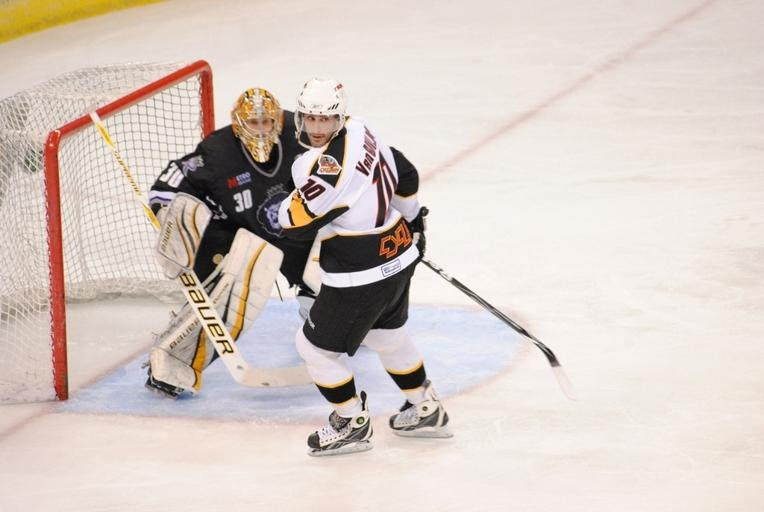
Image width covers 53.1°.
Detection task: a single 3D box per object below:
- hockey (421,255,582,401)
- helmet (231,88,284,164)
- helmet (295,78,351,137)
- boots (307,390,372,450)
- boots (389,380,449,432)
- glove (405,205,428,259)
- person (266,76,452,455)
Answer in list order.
[{"bbox_3d":[0.677,0.429,4.293,1.066,0.119,0.123,40,86,22],"label":"hockey"},{"bbox_3d":[-0.654,-0.731,4.037,0.273,0.307,0.333,-8,29,-15],"label":"helmet"},{"bbox_3d":[-0.251,-0.679,3.437,0.231,0.250,0.257,5,31,8],"label":"helmet"},{"bbox_3d":[-0.184,0.844,3.740,0.418,0.263,0.142,-1,0,-7],"label":"boots"},{"bbox_3d":[0.125,0.762,3.696,0.393,0.127,0.245,6,70,-25],"label":"boots"},{"bbox_3d":[0.185,-0.129,3.760,0.078,0.206,0.162,-5,8,12],"label":"glove"},{"bbox_3d":[-0.151,0.090,3.484,0.649,1.611,0.861,-8,37,6],"label":"person"}]
